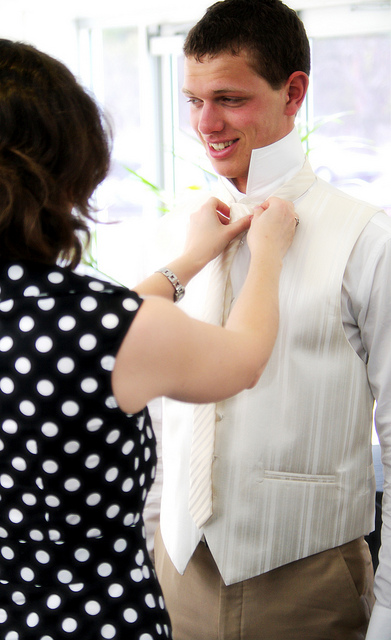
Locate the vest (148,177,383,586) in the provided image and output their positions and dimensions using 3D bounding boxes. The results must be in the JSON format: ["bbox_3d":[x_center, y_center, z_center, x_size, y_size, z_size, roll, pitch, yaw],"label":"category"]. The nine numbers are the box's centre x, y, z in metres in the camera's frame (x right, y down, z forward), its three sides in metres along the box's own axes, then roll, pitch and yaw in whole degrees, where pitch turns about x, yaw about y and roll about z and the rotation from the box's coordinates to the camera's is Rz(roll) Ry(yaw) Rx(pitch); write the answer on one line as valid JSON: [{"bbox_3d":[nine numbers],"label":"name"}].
[{"bbox_3d":[0.078,0.116,1.285,0.574,0.739,0.517,11,24,6],"label":"vest"}]

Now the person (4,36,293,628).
[{"bbox_3d":[-0.085,0.041,0.863,0.391,0.798,0.492,4,28,8],"label":"person"}]

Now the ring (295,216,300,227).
[{"bbox_3d":[0.200,-0.193,1.164,0.006,0.017,0.006,-6,18,2],"label":"ring"}]
